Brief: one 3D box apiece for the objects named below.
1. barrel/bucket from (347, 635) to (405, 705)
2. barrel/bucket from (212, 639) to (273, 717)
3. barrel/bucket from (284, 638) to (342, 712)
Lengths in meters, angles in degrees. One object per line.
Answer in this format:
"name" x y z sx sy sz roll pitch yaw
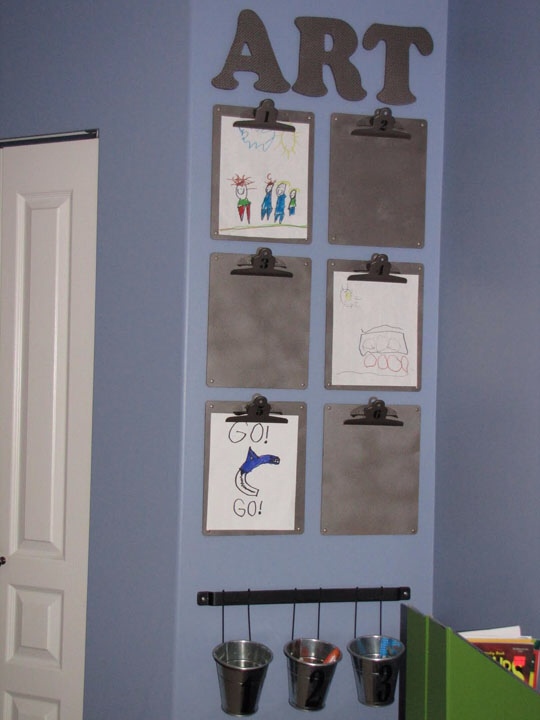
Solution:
"barrel/bucket" 0.229 0.698 2.363 0.142 0.125 0.145 1 12 0
"barrel/bucket" -0.056 0.710 2.321 0.147 0.141 0.159 3 -5 0
"barrel/bucket" 0.095 0.741 2.377 0.130 0.127 0.220 2 0 3
